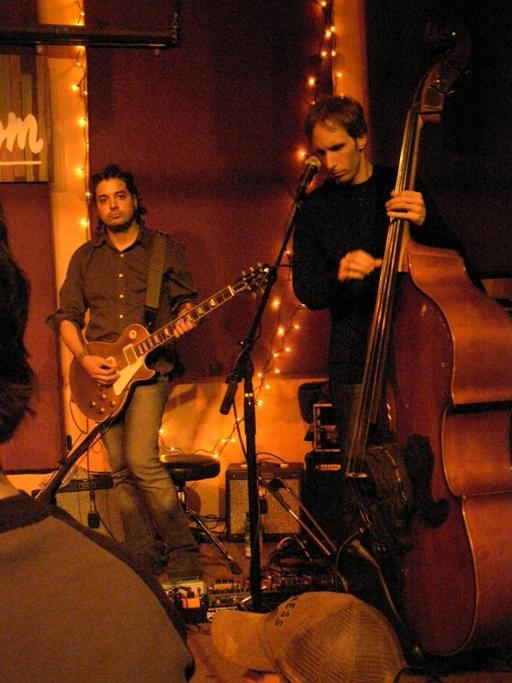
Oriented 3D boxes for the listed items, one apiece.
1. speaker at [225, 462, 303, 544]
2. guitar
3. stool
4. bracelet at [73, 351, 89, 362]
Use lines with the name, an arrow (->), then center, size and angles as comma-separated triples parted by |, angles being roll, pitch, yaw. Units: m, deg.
speaker -> 0.001, 0.766, 3.260 | 0.379, 0.320, 0.218 | 5, -14, -24
guitar -> -0.366, -0.022, 2.918 | 0.825, 0.272, 0.108 | -31, -10, 4
stool -> -0.302, 0.731, 2.944 | 0.407, 0.444, 0.423 | -6, -10, 41
bracelet -> -0.685, 0.061, 2.749 | 0.047, 0.013, 0.050 | -42, 29, -15
